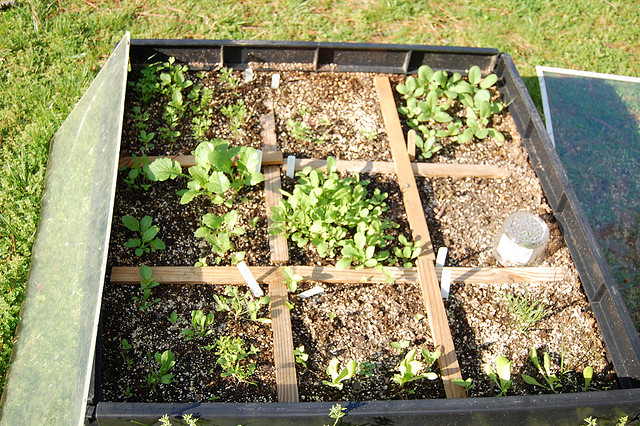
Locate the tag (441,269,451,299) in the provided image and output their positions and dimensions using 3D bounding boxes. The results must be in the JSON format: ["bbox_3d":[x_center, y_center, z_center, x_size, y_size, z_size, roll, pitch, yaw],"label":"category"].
[{"bbox_3d":[0.899,0.506,3.726,0.071,0.058,0.202,11,59,5],"label":"tag"}]

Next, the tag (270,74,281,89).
[{"bbox_3d":[-0.373,-1.126,4.478,0.099,0.038,0.185,7,66,0],"label":"tag"}]
